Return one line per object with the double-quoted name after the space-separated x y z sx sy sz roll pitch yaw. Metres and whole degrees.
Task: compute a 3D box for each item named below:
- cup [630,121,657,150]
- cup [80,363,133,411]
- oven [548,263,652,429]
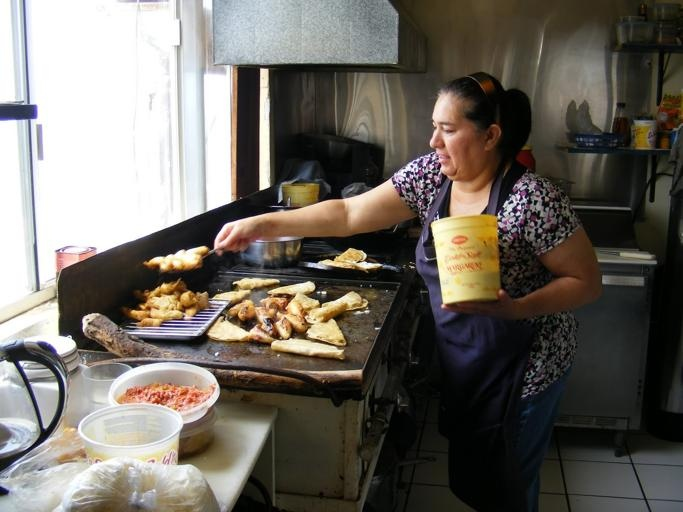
1.735 -0.683 3.080 0.147 0.182 0.179 0 3 5 "cup"
-0.582 0.317 1.315 0.090 0.077 0.107 3 7 -5 "cup"
1.651 0.564 3.025 0.635 0.901 0.642 2 -15 43 "oven"
